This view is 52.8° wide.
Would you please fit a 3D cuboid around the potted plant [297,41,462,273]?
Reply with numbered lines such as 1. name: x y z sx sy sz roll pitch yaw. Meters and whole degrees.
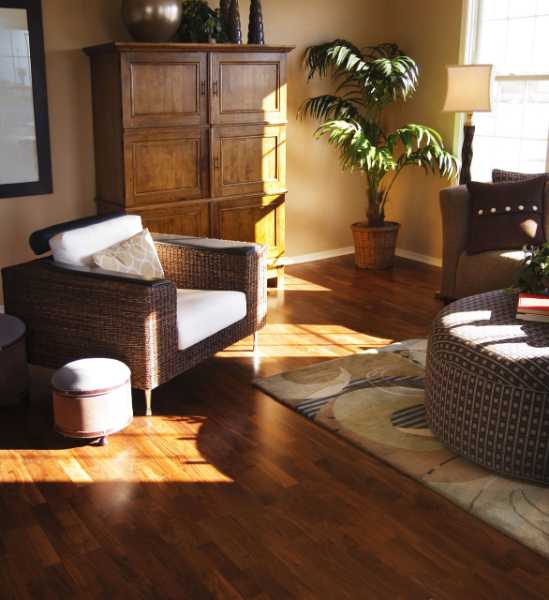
1. potted plant: 0.887 -1.258 4.888 1.300 1.897 1.150 16 26 39

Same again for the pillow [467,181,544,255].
1. pillow: 1.508 -0.521 3.562 0.629 0.542 0.226 -2 -16 9

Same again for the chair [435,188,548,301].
1. chair: 1.377 -0.369 3.442 0.433 0.700 0.744 -7 11 -40

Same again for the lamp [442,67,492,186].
1. lamp: 1.362 -1.224 3.927 0.320 0.815 0.578 6 17 17

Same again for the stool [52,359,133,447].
1. stool: -0.755 0.406 2.267 0.340 0.273 0.325 -7 15 -28
